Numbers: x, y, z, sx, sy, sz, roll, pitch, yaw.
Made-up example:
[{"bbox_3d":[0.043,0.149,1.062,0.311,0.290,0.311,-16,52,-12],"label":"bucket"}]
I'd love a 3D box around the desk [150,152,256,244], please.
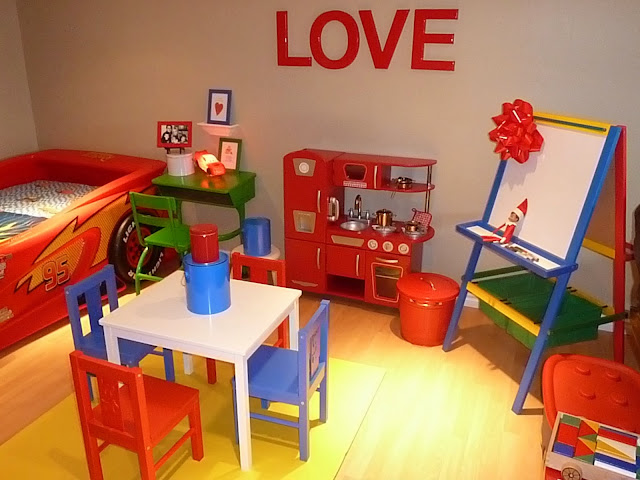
[{"bbox_3d":[-1.160,-0.610,4.830,1.001,1.045,0.704,10,27,20],"label":"desk"}]

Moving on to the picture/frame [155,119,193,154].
[{"bbox_3d":[-1.440,-1.065,4.900,0.470,0.442,0.262,0,8,-2],"label":"picture/frame"}]

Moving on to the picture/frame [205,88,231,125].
[{"bbox_3d":[-1.004,-1.342,4.771,0.290,0.396,0.038,9,15,14],"label":"picture/frame"}]

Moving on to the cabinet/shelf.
[{"bbox_3d":[0.353,-0.108,4.192,1.144,1.244,0.471,7,18,20],"label":"cabinet/shelf"}]

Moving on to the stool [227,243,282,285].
[{"bbox_3d":[-0.503,0.186,3.722,0.206,0.387,0.242,10,31,16],"label":"stool"}]

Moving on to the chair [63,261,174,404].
[{"bbox_3d":[-1.307,0.603,3.053,0.515,1.020,0.536,7,22,16],"label":"chair"}]

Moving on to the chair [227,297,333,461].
[{"bbox_3d":[-0.249,0.866,2.885,0.494,0.971,0.552,10,25,18],"label":"chair"}]

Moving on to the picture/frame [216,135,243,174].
[{"bbox_3d":[-0.909,-0.869,4.831,0.318,0.472,0.016,8,14,15],"label":"picture/frame"}]
